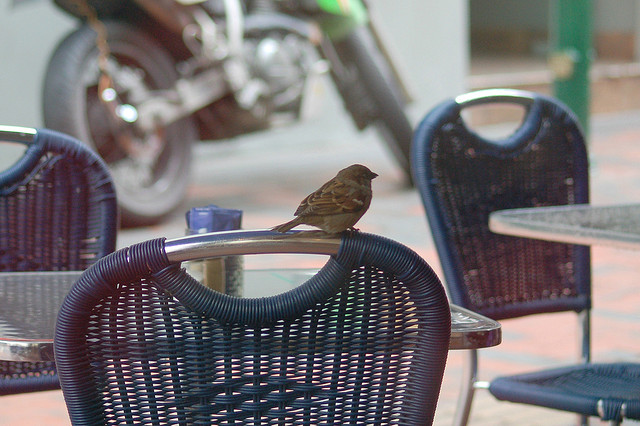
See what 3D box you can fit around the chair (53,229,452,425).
[{"bbox_3d":[-0.229,0.169,4.047,0.938,0.721,0.951,-1,100,-6],"label":"chair"}]
